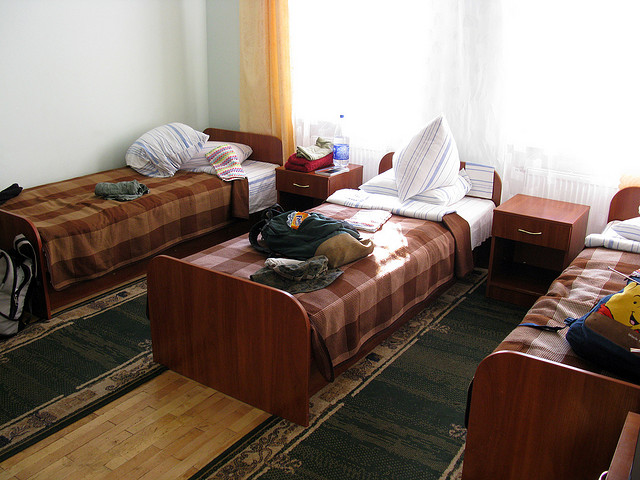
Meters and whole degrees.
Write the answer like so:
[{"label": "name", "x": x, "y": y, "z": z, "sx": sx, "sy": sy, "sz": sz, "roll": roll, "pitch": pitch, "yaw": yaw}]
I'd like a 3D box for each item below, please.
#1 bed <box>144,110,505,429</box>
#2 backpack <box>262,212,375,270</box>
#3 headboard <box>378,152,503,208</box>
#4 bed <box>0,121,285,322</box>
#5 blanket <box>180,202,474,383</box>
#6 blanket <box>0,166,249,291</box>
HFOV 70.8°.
[{"label": "bed", "x": 0.236, "y": 0.080, "z": 3.450, "sx": 1.481, "sy": 1.173, "sz": 2.514, "roll": 14, "pitch": 27, "yaw": 39}, {"label": "backpack", "x": -0.044, "y": -0.019, "z": 2.921, "sx": 0.519, "sy": 0.196, "sz": 0.416, "roll": 17, "pitch": 28, "yaw": 31}, {"label": "headboard", "x": 1.202, "y": -0.562, "z": 4.117, "sx": 0.704, "sy": 0.360, "sz": 0.653, "roll": 15, "pitch": 14, "yaw": 4}, {"label": "bed", "x": -1.522, "y": -0.324, "z": 4.006, "sx": 1.374, "sy": 0.924, "sz": 2.288, "roll": 16, "pitch": 28, "yaw": 26}, {"label": "blanket", "x": 0.397, "y": 0.196, "z": 2.981, "sx": 1.152, "sy": 0.425, "sz": 1.594, "roll": 18, "pitch": 30, "yaw": 31}, {"label": "blanket", "x": -1.545, "y": -0.154, "z": 3.855, "sx": 0.999, "sy": 0.393, "sz": 1.442, "roll": 16, "pitch": 24, "yaw": 34}]
